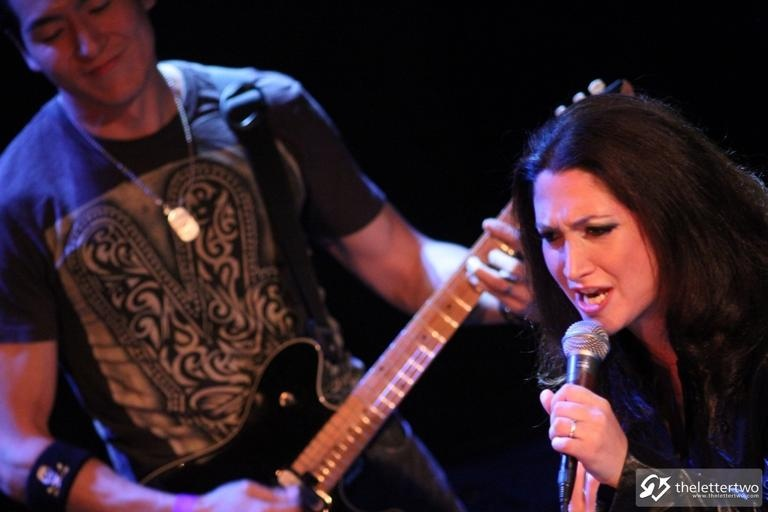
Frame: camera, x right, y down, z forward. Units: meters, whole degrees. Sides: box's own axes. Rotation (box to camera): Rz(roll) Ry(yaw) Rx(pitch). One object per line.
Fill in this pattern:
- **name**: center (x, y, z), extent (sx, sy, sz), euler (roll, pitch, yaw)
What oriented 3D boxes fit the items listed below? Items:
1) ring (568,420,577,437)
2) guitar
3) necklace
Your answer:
- **ring**: center (0.609, 0.555, 2.785), extent (0.030, 0.047, 0.042), euler (-14, 67, 5)
- **guitar**: center (0.092, 0.189, 3.685), extent (2.509, 0.938, 0.304), euler (-46, 5, -24)
- **necklace**: center (-0.900, -0.316, 3.290), extent (0.279, 0.743, 0.102), euler (-43, 21, -18)
